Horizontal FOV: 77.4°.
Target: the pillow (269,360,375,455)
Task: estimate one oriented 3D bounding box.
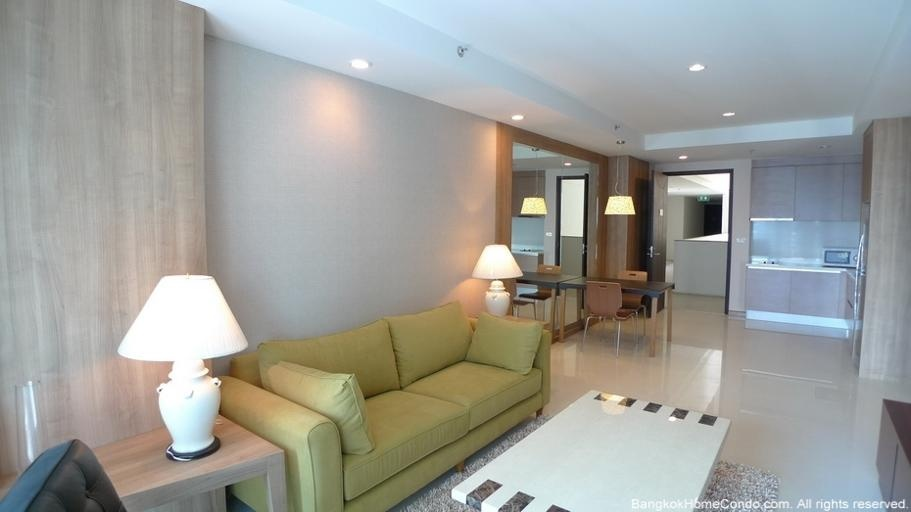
[{"bbox_3d":[-1.131,1.265,4.678,0.755,0.380,0.250,1,8,31],"label":"pillow"}]

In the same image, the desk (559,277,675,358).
[{"bbox_3d":[2.409,0.829,8.544,1.436,0.831,0.870,4,9,34],"label":"desk"}]

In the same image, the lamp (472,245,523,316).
[{"bbox_3d":[0.407,0.269,7.284,0.853,0.982,0.835,-3,6,-2],"label":"lamp"}]

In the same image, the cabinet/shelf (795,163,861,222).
[{"bbox_3d":[6.216,-1.066,9.422,1.174,1.083,0.553,0,0,41],"label":"cabinet/shelf"}]

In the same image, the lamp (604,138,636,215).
[{"bbox_3d":[2.686,-1.222,9.247,0.464,1.245,1.320,4,11,15],"label":"lamp"}]

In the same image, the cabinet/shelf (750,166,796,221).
[{"bbox_3d":[5.481,-1.106,9.808,0.648,0.880,0.248,5,12,20],"label":"cabinet/shelf"}]

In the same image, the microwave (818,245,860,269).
[{"bbox_3d":[6.449,0.045,9.531,0.353,0.376,0.603,2,-2,-43],"label":"microwave"}]

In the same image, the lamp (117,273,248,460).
[{"bbox_3d":[-2.112,0.847,4.469,0.721,1.374,0.557,7,13,27],"label":"lamp"}]

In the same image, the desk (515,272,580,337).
[{"bbox_3d":[1.419,0.756,8.925,1.187,1.126,1.196,6,7,7],"label":"desk"}]
